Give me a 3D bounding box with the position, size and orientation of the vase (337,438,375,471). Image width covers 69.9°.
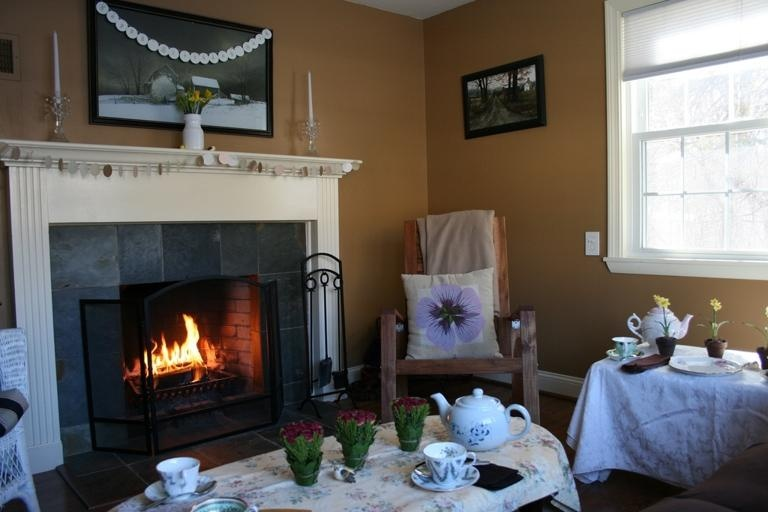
[{"bbox_3d":[-0.112,0.797,2.215,0.118,0.102,0.117,-3,-5,15],"label":"vase"}]

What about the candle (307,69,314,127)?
[{"bbox_3d":[-0.546,-1.176,4.108,0.060,0.457,0.201,-2,5,-7],"label":"candle"}]

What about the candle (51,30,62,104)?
[{"bbox_3d":[-1.986,-1.152,3.319,0.050,0.441,0.123,-4,6,-30],"label":"candle"}]

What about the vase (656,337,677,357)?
[{"bbox_3d":[1.555,0.494,3.016,0.106,0.090,0.109,-1,-1,40],"label":"vase"}]

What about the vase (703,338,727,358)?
[{"bbox_3d":[1.832,0.508,3.044,0.106,0.087,0.107,-1,1,15],"label":"vase"}]

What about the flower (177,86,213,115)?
[{"bbox_3d":[-1.284,-1.019,3.746,0.225,0.226,0.199,0,3,-29],"label":"flower"}]

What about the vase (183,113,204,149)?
[{"bbox_3d":[-1.276,-0.826,3.626,0.137,0.240,0.121,-2,5,-5],"label":"vase"}]

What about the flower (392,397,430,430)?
[{"bbox_3d":[0.114,0.653,2.312,0.128,0.100,0.126,0,-1,-25],"label":"flower"}]

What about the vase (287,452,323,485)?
[{"bbox_3d":[-0.310,0.828,2.178,0.152,0.129,0.112,-3,5,-19],"label":"vase"}]

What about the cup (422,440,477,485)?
[{"bbox_3d":[0.252,0.795,2.126,0.172,0.098,0.138,2,-8,-22],"label":"cup"}]

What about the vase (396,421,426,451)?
[{"bbox_3d":[0.109,0.765,2.369,0.118,0.112,0.114,-1,-3,23],"label":"vase"}]

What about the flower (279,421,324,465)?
[{"bbox_3d":[-0.319,0.736,2.210,0.147,0.145,0.144,1,-5,-42],"label":"flower"}]

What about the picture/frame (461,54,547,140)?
[{"bbox_3d":[0.974,-1.260,4.320,0.773,0.545,0.055,-2,-1,41],"label":"picture/frame"}]

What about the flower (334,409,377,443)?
[{"bbox_3d":[-0.116,0.699,2.298,0.140,0.138,0.132,4,-8,-18],"label":"flower"}]

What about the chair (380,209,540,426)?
[{"bbox_3d":[0.422,0.341,3.548,0.894,1.161,1.036,-1,5,-1],"label":"chair"}]

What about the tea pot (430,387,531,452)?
[{"bbox_3d":[0.424,0.688,2.408,0.425,0.242,0.262,-1,-5,13],"label":"tea pot"}]
